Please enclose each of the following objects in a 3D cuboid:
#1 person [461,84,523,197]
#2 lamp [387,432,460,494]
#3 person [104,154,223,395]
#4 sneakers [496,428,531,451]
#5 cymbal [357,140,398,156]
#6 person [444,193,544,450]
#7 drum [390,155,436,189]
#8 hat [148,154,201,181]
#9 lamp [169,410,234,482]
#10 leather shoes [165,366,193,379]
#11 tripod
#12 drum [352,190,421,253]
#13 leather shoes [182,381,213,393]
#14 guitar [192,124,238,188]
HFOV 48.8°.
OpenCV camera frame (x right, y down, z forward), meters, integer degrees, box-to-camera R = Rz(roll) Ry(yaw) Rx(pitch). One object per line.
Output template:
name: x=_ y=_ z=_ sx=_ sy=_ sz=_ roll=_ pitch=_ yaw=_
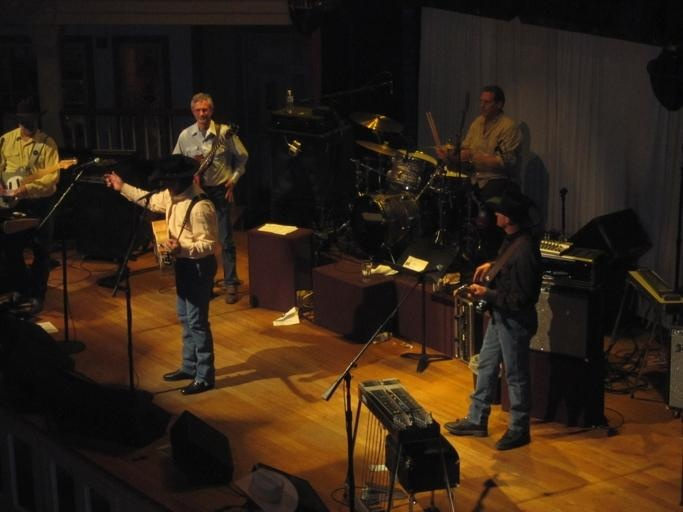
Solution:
person: x=1.860 y=-1.470 z=9.346 sx=0.738 sy=1.233 sz=0.645 roll=3 pitch=11 yaw=11
lamp: x=0.545 y=1.606 z=5.745 sx=0.453 sy=0.305 sz=0.614 roll=3 pitch=-14 yaw=-21
person: x=-1.477 y=0.200 z=7.244 sx=0.535 sy=2.312 sz=0.550 roll=1 pitch=11 yaw=4
sneakers: x=1.471 y=1.577 z=6.583 sx=0.338 sy=0.151 sz=0.125 roll=-4 pitch=11 yaw=-20
cymbal: x=0.479 y=-1.394 z=9.718 sx=0.411 sy=0.164 sz=0.502 roll=-9 pitch=15 yaw=-40
person: x=1.371 y=0.544 z=6.517 sx=0.629 sy=2.170 sz=0.495 roll=4 pitch=12 yaw=18
drum: x=0.854 y=-1.060 z=9.492 sx=0.471 sy=0.312 sz=0.424 roll=15 pitch=-17 yaw=32
hat: x=-1.574 y=-0.822 z=6.996 sx=0.300 sy=0.113 sz=0.277 roll=-6 pitch=32 yaw=3
lamp: x=-1.179 y=1.570 z=6.196 sx=0.499 sy=0.428 sz=0.599 roll=-8 pitch=23 yaw=-26
leather shoes: x=-1.656 y=1.179 z=7.678 sx=0.308 sy=0.126 sz=0.114 roll=4 pitch=7 yaw=-15
tripod: x=0.901 y=0.552 z=7.879 sx=0.655 sy=1.144 sz=0.719 roll=-1 pitch=1 yaw=31
drum: x=0.475 y=-0.429 z=9.432 sx=0.695 sy=0.915 sz=0.878 roll=-7 pitch=12 yaw=-41
leather shoes: x=-1.435 y=1.290 z=7.472 sx=0.308 sy=0.124 sz=0.112 roll=4 pitch=17 yaw=-25
guitar: x=-1.500 y=-1.162 z=8.937 sx=0.315 sy=0.816 sz=0.118 roll=21 pitch=-3 yaw=43
